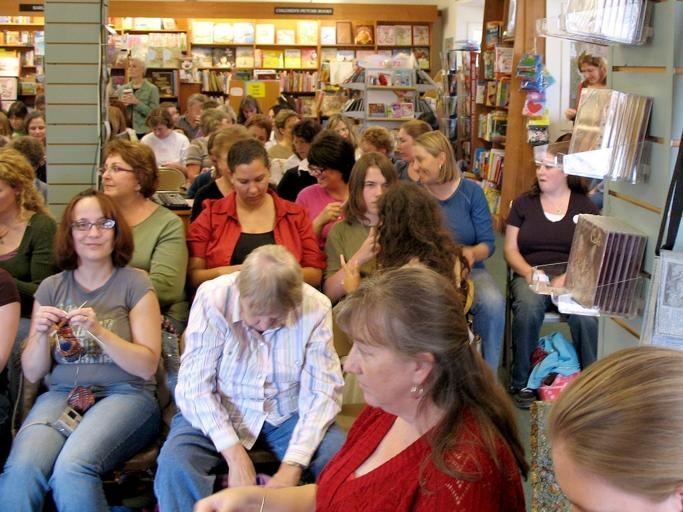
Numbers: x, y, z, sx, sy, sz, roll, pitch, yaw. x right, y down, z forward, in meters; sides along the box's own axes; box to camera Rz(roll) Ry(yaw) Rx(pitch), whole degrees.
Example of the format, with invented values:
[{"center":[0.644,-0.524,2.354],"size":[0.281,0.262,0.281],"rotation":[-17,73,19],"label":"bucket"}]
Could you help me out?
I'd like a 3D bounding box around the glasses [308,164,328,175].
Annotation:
[{"center":[-0.180,-0.595,3.868],"size":[0.082,0.026,0.078],"rotation":[3,12,-42],"label":"glasses"}]
